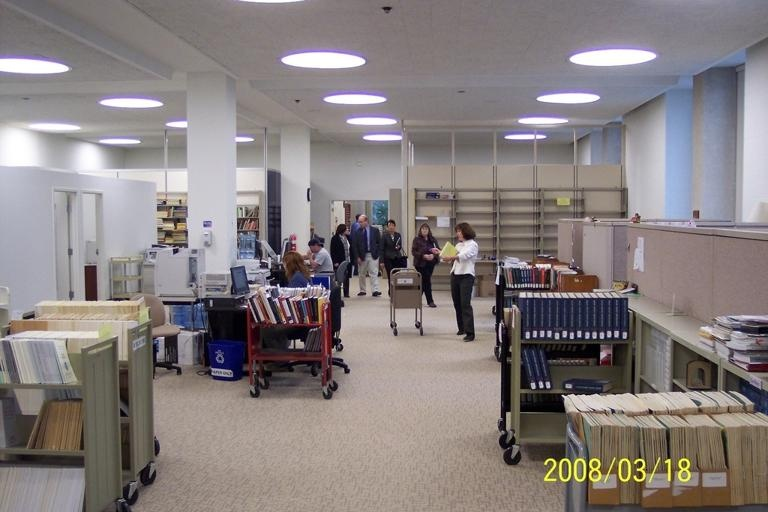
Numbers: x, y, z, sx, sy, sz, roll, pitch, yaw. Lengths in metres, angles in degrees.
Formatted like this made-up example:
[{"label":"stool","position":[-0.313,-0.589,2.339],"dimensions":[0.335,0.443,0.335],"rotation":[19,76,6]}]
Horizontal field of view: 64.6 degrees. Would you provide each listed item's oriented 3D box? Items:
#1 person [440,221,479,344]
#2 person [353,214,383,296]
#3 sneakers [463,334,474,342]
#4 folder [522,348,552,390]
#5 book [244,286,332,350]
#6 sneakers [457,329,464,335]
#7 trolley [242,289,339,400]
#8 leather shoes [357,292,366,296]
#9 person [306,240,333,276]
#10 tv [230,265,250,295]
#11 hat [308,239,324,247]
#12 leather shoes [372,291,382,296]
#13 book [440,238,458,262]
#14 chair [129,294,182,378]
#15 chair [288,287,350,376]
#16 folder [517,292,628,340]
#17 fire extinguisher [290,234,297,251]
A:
[{"label":"person","position":[1.222,0.420,9.782],"dimensions":[0.491,1.930,0.691],"rotation":[1,9,9]},{"label":"person","position":[-0.399,-0.007,14.762],"dimensions":[0.640,1.983,0.986],"rotation":[-3,9,-21]},{"label":"sneakers","position":[1.359,1.327,9.822],"dimensions":[0.080,0.096,0.221],"rotation":[-3,-8,20]},{"label":"folder","position":[1.441,1.068,5.768],"dimensions":[0.279,0.371,0.109],"rotation":[-3,-4,-5]},{"label":"book","position":[-1.202,0.814,7.769],"dimensions":[0.984,0.883,1.170],"rotation":[-1,8,-7]},{"label":"sneakers","position":[1.283,1.285,10.170],"dimensions":[0.124,0.117,0.063],"rotation":[3,-4,-36]},{"label":"trolley","position":[-1.184,1.069,7.671],"dimensions":[0.984,1.229,0.875],"rotation":[1,-4,-12]},{"label":"leather shoes","position":[-0.552,0.927,14.919],"dimensions":[0.196,0.077,0.085],"rotation":[2,-1,-10]},{"label":"person","position":[-1.215,0.175,11.425],"dimensions":[0.510,1.051,0.467],"rotation":[0,25,-3]},{"label":"tv","position":[-2.088,0.353,8.735],"dimensions":[0.113,0.270,0.375],"rotation":[-7,6,5]},{"label":"hat","position":[-1.240,-0.248,11.201],"dimensions":[0.203,0.267,0.232],"rotation":[0,1,-24]},{"label":"leather shoes","position":[-0.193,0.912,14.727],"dimensions":[0.184,0.082,0.095],"rotation":[-4,3,11]},{"label":"book","position":[0.958,-0.038,9.554],"dimensions":[0.281,0.299,0.070],"rotation":[40,-26,-18]},{"label":"chair","position":[-3.038,1.050,8.113],"dimensions":[0.614,1.000,0.643],"rotation":[4,1,-34]},{"label":"chair","position":[-0.784,0.994,8.603],"dimensions":[1.110,1.406,1.125],"rotation":[1,0,-4]},{"label":"folder","position":[1.788,0.588,5.729],"dimensions":[1.046,0.417,0.161],"rotation":[-1,9,-5]},{"label":"fire extinguisher","position":[-2.222,-0.330,14.743],"dimensions":[0.165,0.255,0.449],"rotation":[-1,7,-7]}]
